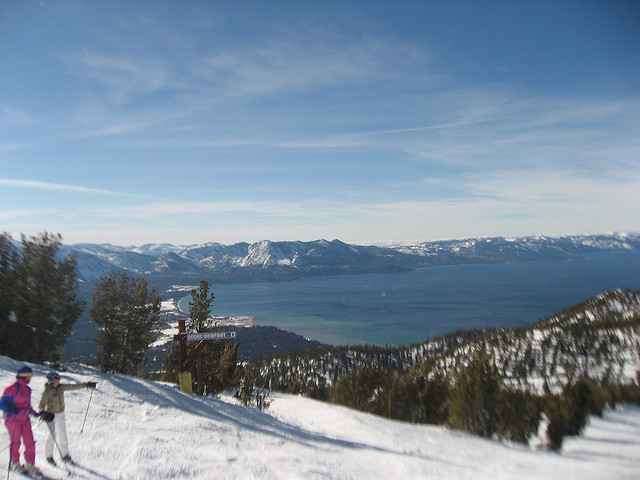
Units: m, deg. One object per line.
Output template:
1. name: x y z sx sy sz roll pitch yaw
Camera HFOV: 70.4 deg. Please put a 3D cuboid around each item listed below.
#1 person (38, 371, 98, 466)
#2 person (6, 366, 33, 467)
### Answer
1. person: -10.883 7.355 18.849 1.112 3.765 1.368 1 -6 16
2. person: -11.903 7.092 18.051 0.964 3.822 0.435 5 -6 -23
